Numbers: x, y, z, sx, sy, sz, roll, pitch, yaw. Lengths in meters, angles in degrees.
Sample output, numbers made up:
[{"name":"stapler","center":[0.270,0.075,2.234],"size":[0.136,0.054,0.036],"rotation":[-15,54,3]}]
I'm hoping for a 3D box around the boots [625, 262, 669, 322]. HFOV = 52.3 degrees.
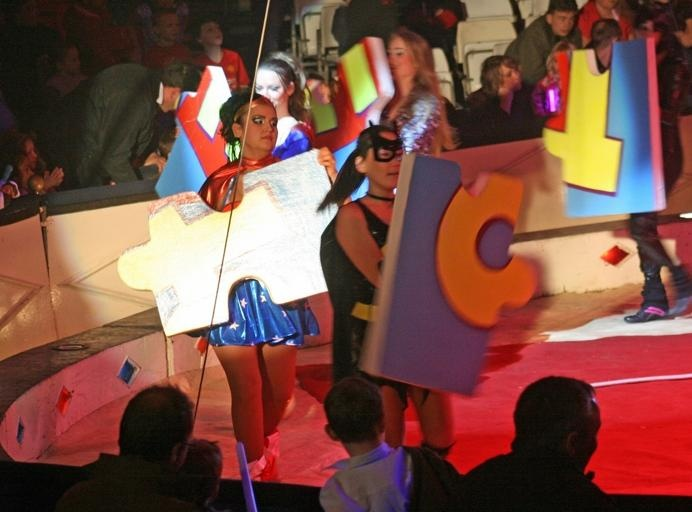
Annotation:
[{"name":"boots","center":[2.678,0.315,6.209],"size":[0.352,0.471,0.476],"rotation":[4,15,32]}]
